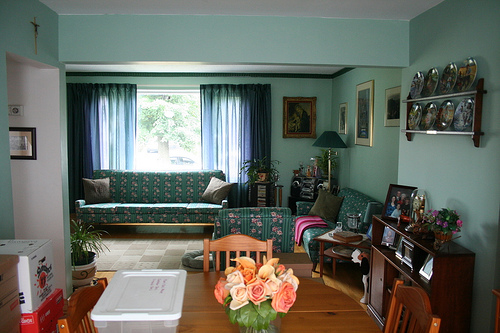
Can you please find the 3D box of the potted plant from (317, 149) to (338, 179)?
[{"bbox_3d":[1.541,-0.021,6.619,0.448,0.625,0.534,2,1,1],"label":"potted plant"}]

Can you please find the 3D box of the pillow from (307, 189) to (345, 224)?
[{"bbox_3d":[1.283,0.676,5.612,0.156,0.471,0.482,29,8,-39],"label":"pillow"}]

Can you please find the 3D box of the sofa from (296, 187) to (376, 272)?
[{"bbox_3d":[1.333,0.948,5.274,1.112,1.033,1.299,-1,6,5],"label":"sofa"}]

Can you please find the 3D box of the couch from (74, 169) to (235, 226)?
[{"bbox_3d":[-1.833,0.680,6.672,2.794,1.158,0.930,2,0,-13],"label":"couch"}]

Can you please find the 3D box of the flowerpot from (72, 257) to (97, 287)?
[{"bbox_3d":[-2.193,1.417,4.426,0.381,0.292,0.376,0,-11,-13],"label":"flowerpot"}]

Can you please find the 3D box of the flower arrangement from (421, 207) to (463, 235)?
[{"bbox_3d":[1.713,0.472,2.990,0.294,0.164,0.273,-4,14,-7],"label":"flower arrangement"}]

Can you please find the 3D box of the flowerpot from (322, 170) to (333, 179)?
[{"bbox_3d":[1.544,0.177,6.665,0.137,0.158,0.138,0,4,5],"label":"flowerpot"}]

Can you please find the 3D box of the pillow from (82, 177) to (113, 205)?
[{"bbox_3d":[-2.945,0.490,6.514,0.447,0.457,0.164,-6,-11,-37],"label":"pillow"}]

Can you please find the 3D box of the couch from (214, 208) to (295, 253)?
[{"bbox_3d":[0.136,0.767,4.127,0.828,0.574,0.477,-3,9,9],"label":"couch"}]

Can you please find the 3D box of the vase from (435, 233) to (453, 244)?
[{"bbox_3d":[1.706,0.622,2.950,0.115,0.084,0.105,3,-2,4],"label":"vase"}]

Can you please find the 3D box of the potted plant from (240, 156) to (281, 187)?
[{"bbox_3d":[0.216,0.113,7.032,0.877,0.606,0.738,-1,6,4],"label":"potted plant"}]

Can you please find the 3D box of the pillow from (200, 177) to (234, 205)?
[{"bbox_3d":[-0.643,0.495,6.578,0.494,0.481,0.154,21,-12,45],"label":"pillow"}]

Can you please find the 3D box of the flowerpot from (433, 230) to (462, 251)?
[{"bbox_3d":[1.728,0.649,2.951,0.189,0.134,0.126,1,4,5],"label":"flowerpot"}]

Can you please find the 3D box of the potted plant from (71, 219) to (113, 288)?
[{"bbox_3d":[-2.199,1.207,4.428,0.572,0.751,0.527,-12,-13,27],"label":"potted plant"}]

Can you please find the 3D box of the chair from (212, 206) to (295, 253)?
[{"bbox_3d":[0.060,0.800,4.149,0.970,0.666,0.565,-2,1,6],"label":"chair"}]
